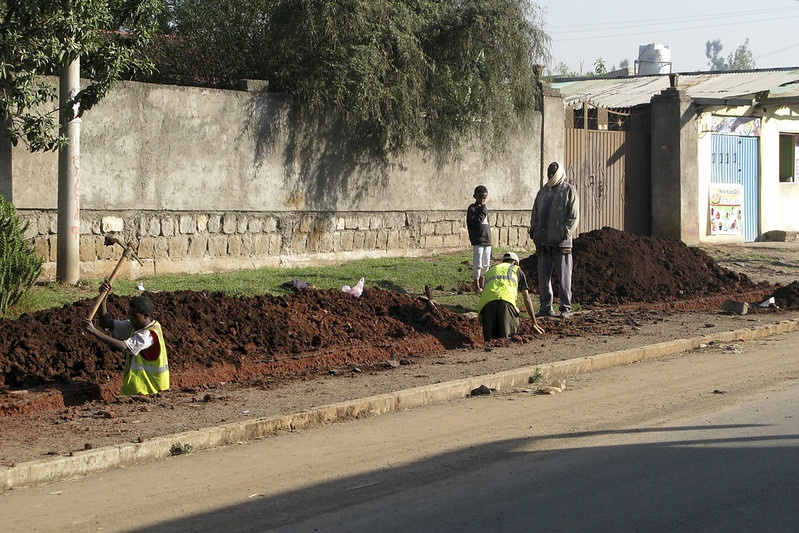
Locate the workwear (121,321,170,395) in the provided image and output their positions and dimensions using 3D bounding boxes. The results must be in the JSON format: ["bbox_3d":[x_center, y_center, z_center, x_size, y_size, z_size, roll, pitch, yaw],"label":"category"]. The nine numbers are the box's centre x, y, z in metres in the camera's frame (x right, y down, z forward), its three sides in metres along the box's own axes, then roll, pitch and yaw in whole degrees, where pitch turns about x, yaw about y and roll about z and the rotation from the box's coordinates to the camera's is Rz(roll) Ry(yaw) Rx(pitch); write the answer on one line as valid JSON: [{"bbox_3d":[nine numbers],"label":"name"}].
[{"bbox_3d":[-4.118,1.544,24.169,1.086,1.282,0.652,3,-5,8],"label":"workwear"}]

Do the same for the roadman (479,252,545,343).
[{"bbox_3d":[1.956,0.538,27.303,0.950,1.607,0.538,-1,1,-41],"label":"roadman"}]

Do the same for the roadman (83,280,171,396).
[{"bbox_3d":[-4.453,1.512,24.221,1.323,2.353,0.957,-8,19,-42],"label":"roadman"}]

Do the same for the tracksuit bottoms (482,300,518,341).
[{"bbox_3d":[1.773,0.834,27.539,0.728,0.992,0.539,-3,32,2],"label":"tracksuit bottoms"}]

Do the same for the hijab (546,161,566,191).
[{"bbox_3d":[3.004,-1.796,28.988,0.356,0.495,0.469,3,7,42],"label":"hijab"}]

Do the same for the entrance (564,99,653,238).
[{"bbox_3d":[5.115,-2.388,37.062,0.206,3.037,3.409,-4,-7,38],"label":"entrance"}]

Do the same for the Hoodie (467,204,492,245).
[{"bbox_3d":[1.575,-0.837,29.925,0.427,0.857,0.403,-2,2,-1],"label":"Hoodie"}]

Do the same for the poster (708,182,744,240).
[{"bbox_3d":[8.763,-1.511,40.452,0.064,1.543,1.441,1,3,40],"label":"poster"}]

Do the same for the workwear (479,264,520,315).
[{"bbox_3d":[1.924,0.424,27.449,0.690,1.028,0.605,4,-33,9],"label":"workwear"}]
